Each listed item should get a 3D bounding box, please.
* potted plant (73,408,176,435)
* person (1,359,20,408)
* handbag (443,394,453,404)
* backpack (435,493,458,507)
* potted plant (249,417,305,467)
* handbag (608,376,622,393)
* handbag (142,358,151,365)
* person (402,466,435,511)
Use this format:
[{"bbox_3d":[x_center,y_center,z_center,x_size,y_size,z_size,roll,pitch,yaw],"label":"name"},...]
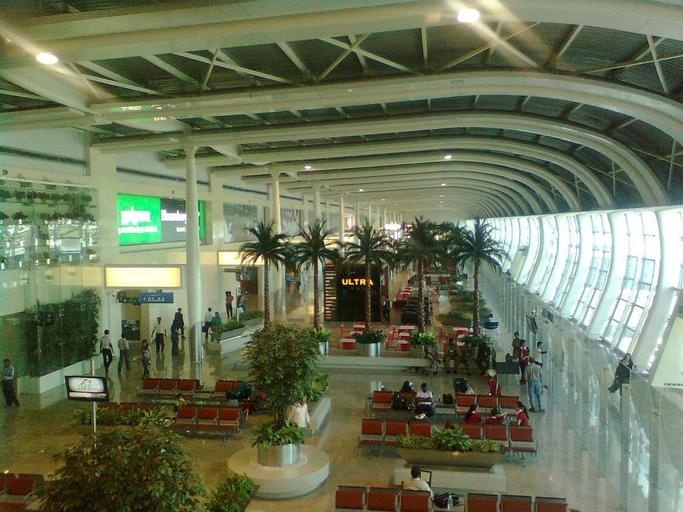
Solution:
[{"bbox_3d":[-6.982,5.106,18.549,3.324,0.588,1.534,0,2,11],"label":"potted plant"},{"bbox_3d":[-11.026,4.227,19.582,0.456,1.717,0.945,-2,3,-27],"label":"person"},{"bbox_3d":[3.576,4.717,19.433,0.340,0.287,0.316,0,-10,12],"label":"handbag"},{"bbox_3d":[2.507,5.764,13.852,0.636,0.366,0.343,-1,2,-3],"label":"backpack"},{"bbox_3d":[-1.669,5.014,15.914,1.160,0.797,1.164,1,-5,-3],"label":"potted plant"},{"bbox_3d":[6.853,3.207,14.653,0.234,0.254,0.693,3,5,20],"label":"handbag"},{"bbox_3d":[-7.391,4.000,22.366,0.183,0.165,0.310,13,7,-6],"label":"handbag"},{"bbox_3d":[1.829,5.464,13.740,0.994,1.088,0.610,1,14,9],"label":"person"}]
